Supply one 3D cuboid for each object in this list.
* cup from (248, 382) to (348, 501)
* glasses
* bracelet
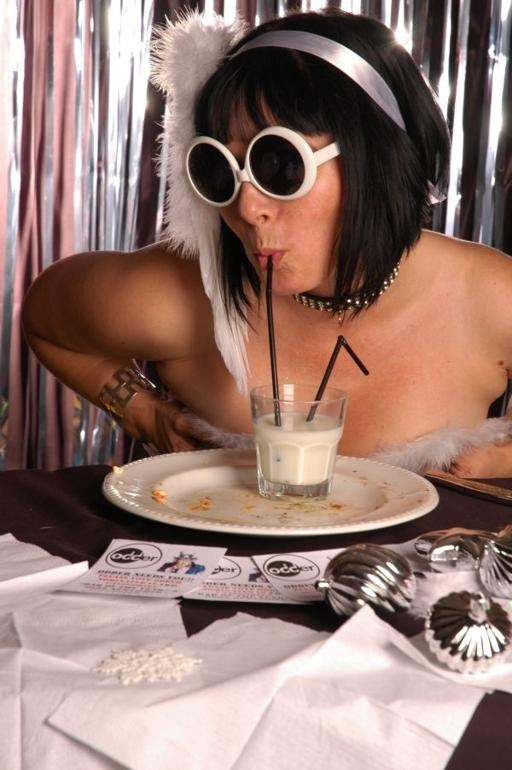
[{"bbox_3d":[0.049,0.068,0.826,0.131,0.136,0.128,1,1,0],"label":"cup"},{"bbox_3d":[-0.014,-0.265,0.899,0.135,0.054,0.151,4,13,38],"label":"glasses"},{"bbox_3d":[-0.269,0.011,1.386,0.036,0.126,0.118,19,64,46],"label":"bracelet"}]
